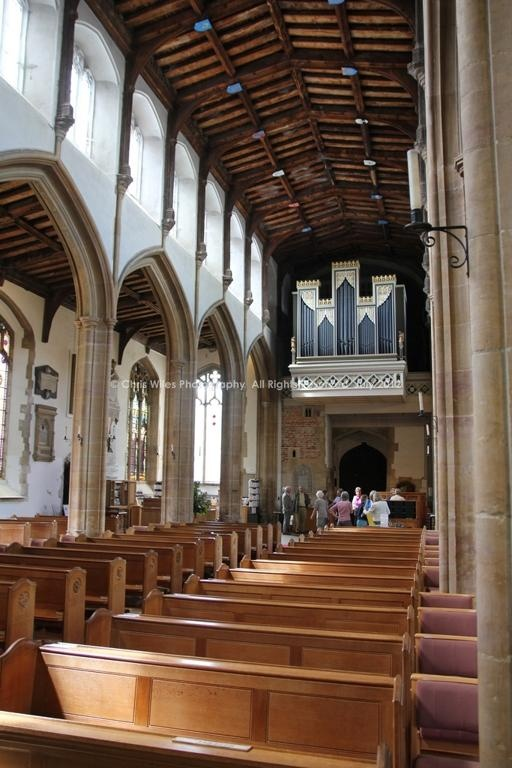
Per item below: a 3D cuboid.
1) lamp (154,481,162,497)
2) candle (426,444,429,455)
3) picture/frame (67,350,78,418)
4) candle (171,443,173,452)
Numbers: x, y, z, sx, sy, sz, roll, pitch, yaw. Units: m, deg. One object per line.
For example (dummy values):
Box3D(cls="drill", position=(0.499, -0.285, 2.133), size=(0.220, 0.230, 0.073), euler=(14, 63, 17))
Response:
Box3D(cls="lamp", position=(-2.632, 2.835, 17.681), size=(0.134, 0.385, 0.773), euler=(3, -7, -12))
Box3D(cls="candle", position=(4.675, 1.809, 17.815), size=(0.051, 0.217, 0.490), euler=(-2, -8, 20))
Box3D(cls="picture/frame", position=(-4.498, -0.013, 16.065), size=(0.125, 1.540, 0.503), euler=(3, -7, -14))
Box3D(cls="candle", position=(-1.657, 1.266, 13.045), size=(0.048, 0.149, 0.019), euler=(4, -8, -26))
